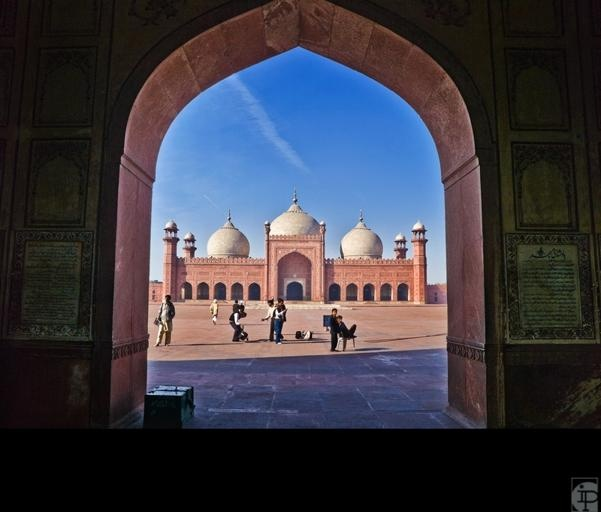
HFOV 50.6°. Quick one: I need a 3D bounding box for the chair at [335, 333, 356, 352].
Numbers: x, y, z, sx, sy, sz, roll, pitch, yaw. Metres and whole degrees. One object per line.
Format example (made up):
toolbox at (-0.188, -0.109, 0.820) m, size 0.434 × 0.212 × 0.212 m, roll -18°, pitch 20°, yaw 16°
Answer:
chair at (0.718, 1.356, 9.973) m, size 0.290 × 0.203 × 0.296 m, roll -1°, pitch -8°, yaw 2°
